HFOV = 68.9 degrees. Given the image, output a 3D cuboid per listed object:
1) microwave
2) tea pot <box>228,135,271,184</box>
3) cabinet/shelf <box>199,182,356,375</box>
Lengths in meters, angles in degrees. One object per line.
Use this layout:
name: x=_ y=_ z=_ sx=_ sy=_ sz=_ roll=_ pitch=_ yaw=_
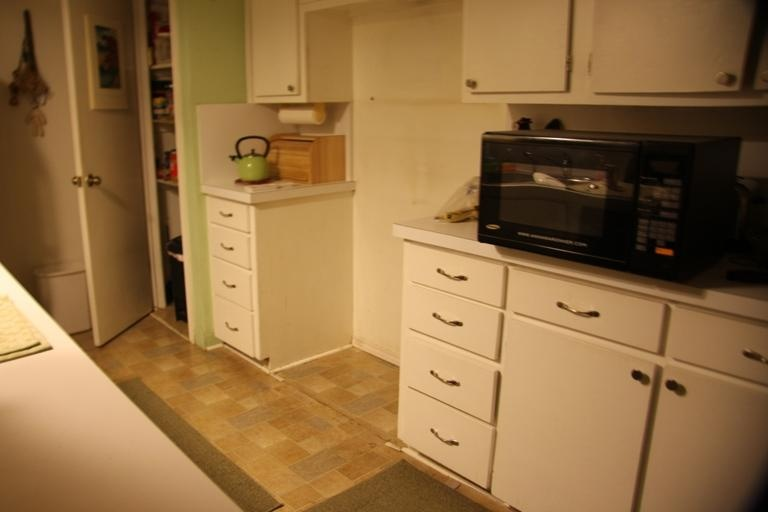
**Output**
microwave: x=0.922 y=-0.092 z=2.237 sx=0.932 sy=0.563 sz=0.593 roll=13 pitch=18 yaw=41
tea pot: x=-0.845 y=-0.619 z=3.582 sx=0.363 sy=0.354 sz=0.277 roll=2 pitch=12 yaw=-11
cabinet/shelf: x=-0.630 y=0.102 z=3.578 sx=0.943 sy=1.115 sz=0.532 roll=-4 pitch=20 yaw=-16
